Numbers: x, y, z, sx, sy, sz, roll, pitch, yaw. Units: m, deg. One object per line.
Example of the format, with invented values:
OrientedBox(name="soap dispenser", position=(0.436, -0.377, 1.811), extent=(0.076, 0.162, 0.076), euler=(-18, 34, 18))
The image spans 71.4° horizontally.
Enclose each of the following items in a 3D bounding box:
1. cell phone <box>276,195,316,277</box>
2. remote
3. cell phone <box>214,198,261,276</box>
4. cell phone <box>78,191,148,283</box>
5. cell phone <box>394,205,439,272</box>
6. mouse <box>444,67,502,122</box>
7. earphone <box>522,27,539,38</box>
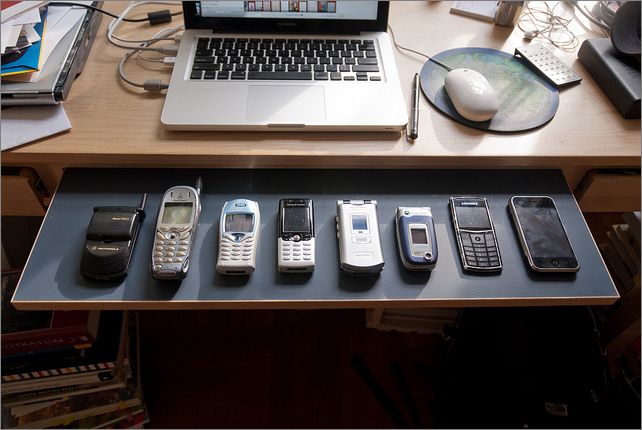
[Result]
OrientedBox(name="cell phone", position=(-0.061, 0.048, 0.927), extent=(0.072, 0.045, 0.154), euler=(-1, 71, 2))
OrientedBox(name="remote", position=(0.579, -0.386, 1.147), extent=(0.093, 0.026, 0.159), euler=(-27, 65, -15))
OrientedBox(name="cell phone", position=(-0.178, 0.045, 0.920), extent=(0.079, 0.040, 0.151), euler=(0, 65, 1))
OrientedBox(name="cell phone", position=(-0.441, 0.048, 0.942), extent=(0.095, 0.042, 0.162), euler=(2, 54, -2))
OrientedBox(name="cell phone", position=(0.210, 0.055, 0.954), extent=(0.081, 0.037, 0.130), euler=(0, 61, -2))
OrientedBox(name="mouse", position=(0.359, -0.279, 1.093), extent=(0.103, 0.051, 0.166), euler=(-3, 35, -10))
OrientedBox(name="earphone", position=(0.570, -0.491, 1.215), extent=(0.025, 0.017, 0.042), euler=(8, 51, 18))
